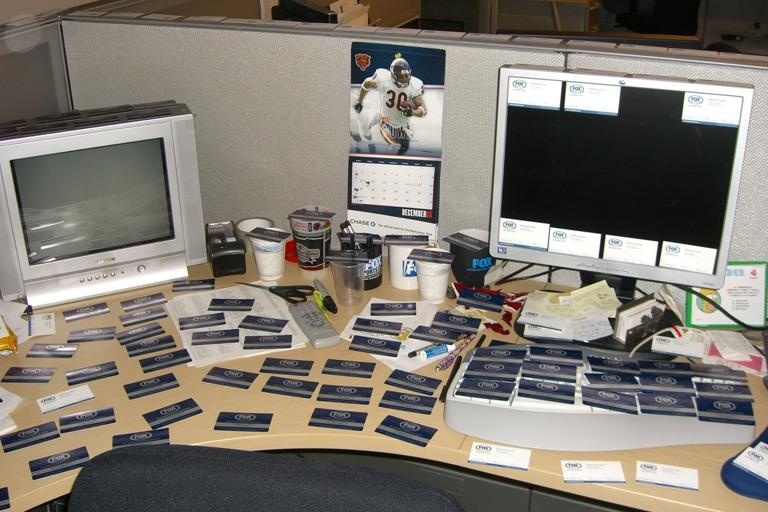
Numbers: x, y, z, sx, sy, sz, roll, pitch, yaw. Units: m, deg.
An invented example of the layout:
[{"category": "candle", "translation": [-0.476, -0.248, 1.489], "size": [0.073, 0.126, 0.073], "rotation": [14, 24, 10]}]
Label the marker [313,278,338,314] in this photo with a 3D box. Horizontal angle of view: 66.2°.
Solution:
[{"category": "marker", "translation": [-0.190, 0.124, 1.835], "size": [0.040, 0.035, 0.153], "rotation": [-8, 36, -19]}]

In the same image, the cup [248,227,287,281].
[{"category": "cup", "translation": [-0.375, -0.003, 1.892], "size": [0.145, 0.125, 0.147], "rotation": [0, 23, 0]}]

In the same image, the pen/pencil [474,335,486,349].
[{"category": "pen/pencil", "translation": [0.266, 0.239, 1.636], "size": [0.014, 0.009, 0.074], "rotation": [9, 16, 23]}]

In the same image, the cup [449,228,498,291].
[{"category": "cup", "translation": [0.269, 0.010, 1.918], "size": [0.198, 0.152, 0.189], "rotation": [-1, 21, 0]}]

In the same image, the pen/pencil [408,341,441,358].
[{"category": "pen/pencil", "translation": [0.115, 0.252, 1.644], "size": [0.109, 0.025, 0.026], "rotation": [-22, -7, -32]}]

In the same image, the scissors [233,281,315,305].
[{"category": "scissors", "translation": [-0.327, 0.112, 1.844], "size": [0.196, 0.013, 0.064], "rotation": [9, 30, 10]}]

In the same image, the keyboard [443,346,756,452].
[{"category": "keyboard", "translation": [0.510, 0.355, 1.404], "size": [0.625, 0.080, 0.263], "rotation": [4, 29, 10]}]

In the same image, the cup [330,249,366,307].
[{"category": "cup", "translation": [-0.109, 0.066, 1.792], "size": [0.115, 0.162, 0.078], "rotation": [-3, 22, -5]}]

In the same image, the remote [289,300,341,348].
[{"category": "remote", "translation": [-0.197, 0.191, 1.690], "size": [0.086, 0.030, 0.170], "rotation": [-12, 30, -25]}]

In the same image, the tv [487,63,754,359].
[{"category": "tv", "translation": [0.649, -0.129, 1.567], "size": [0.900, 0.706, 0.265], "rotation": [8, 27, 17]}]

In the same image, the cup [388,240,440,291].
[{"category": "cup", "translation": [0.057, 0.020, 1.868], "size": [0.215, 0.147, 0.122], "rotation": [-11, 21, -21]}]

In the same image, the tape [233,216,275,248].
[{"category": "tape", "translation": [-0.442, -0.089, 2.011], "size": [0.112, 0.064, 0.106], "rotation": [-17, 33, -37]}]

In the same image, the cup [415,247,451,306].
[{"category": "cup", "translation": [0.143, 0.060, 1.810], "size": [0.109, 0.156, 0.111], "rotation": [-1, 21, 0]}]

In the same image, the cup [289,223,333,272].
[{"category": "cup", "translation": [-0.233, -0.038, 1.901], "size": [0.119, 0.164, 0.059], "rotation": [-4, 22, -8]}]

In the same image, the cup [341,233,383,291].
[{"category": "cup", "translation": [-0.048, 0.014, 1.857], "size": [0.169, 0.161, 0.188], "rotation": [2, 23, 6]}]
